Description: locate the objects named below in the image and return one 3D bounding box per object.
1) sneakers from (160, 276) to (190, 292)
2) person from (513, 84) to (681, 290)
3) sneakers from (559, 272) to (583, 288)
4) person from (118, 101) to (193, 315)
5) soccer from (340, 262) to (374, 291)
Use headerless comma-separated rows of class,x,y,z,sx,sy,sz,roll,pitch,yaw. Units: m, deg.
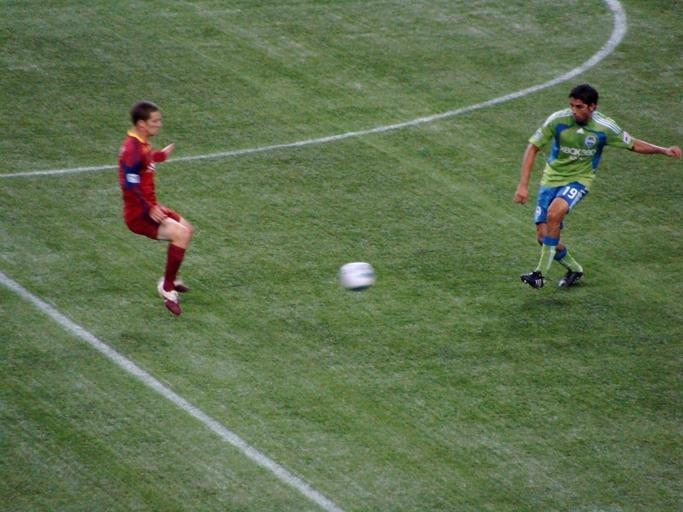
sneakers,-1.697,0.309,16.605,0.358,0.114,0.132,21,31,-2
person,2.463,-0.765,17.004,1.081,2.243,1.272,25,36,28
sneakers,2.523,0.280,17.299,0.170,0.263,0.105,18,57,-45
person,-1.927,-0.523,16.425,0.715,2.040,1.343,-3,32,-13
soccer,0.177,0.219,17.009,0.405,0.201,0.383,4,27,0
